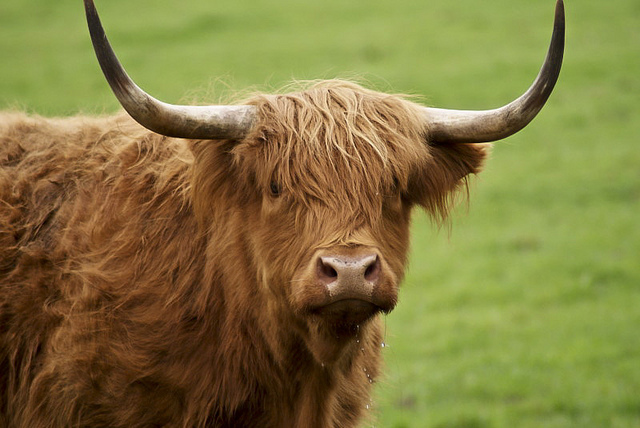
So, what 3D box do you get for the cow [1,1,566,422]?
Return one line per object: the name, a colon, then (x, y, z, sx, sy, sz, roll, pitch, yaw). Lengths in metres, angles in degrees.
cow: (-1.337, 0.265, 8.280, 3.173, 3.112, 4.981, 4, -5, -39)
